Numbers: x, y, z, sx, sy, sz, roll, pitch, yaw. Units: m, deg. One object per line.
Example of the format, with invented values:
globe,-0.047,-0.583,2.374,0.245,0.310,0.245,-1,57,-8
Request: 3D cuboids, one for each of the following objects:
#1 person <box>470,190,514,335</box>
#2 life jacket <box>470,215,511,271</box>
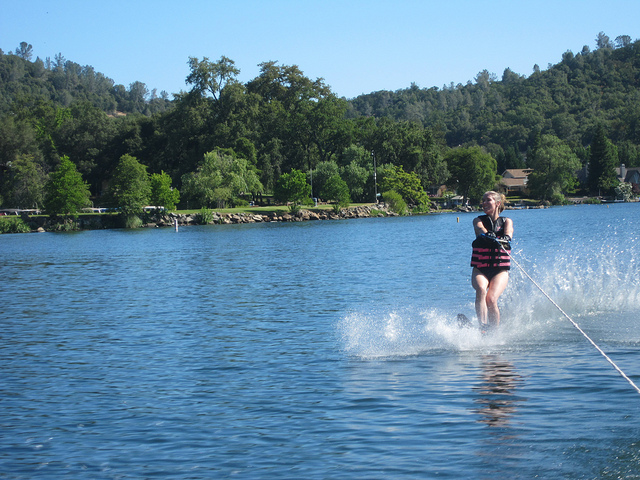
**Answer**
person,4.031,0.562,21.456,0.942,3.313,1.192,-1,9,10
life jacket,3.988,0.080,21.381,0.891,1.260,0.594,-2,9,6
